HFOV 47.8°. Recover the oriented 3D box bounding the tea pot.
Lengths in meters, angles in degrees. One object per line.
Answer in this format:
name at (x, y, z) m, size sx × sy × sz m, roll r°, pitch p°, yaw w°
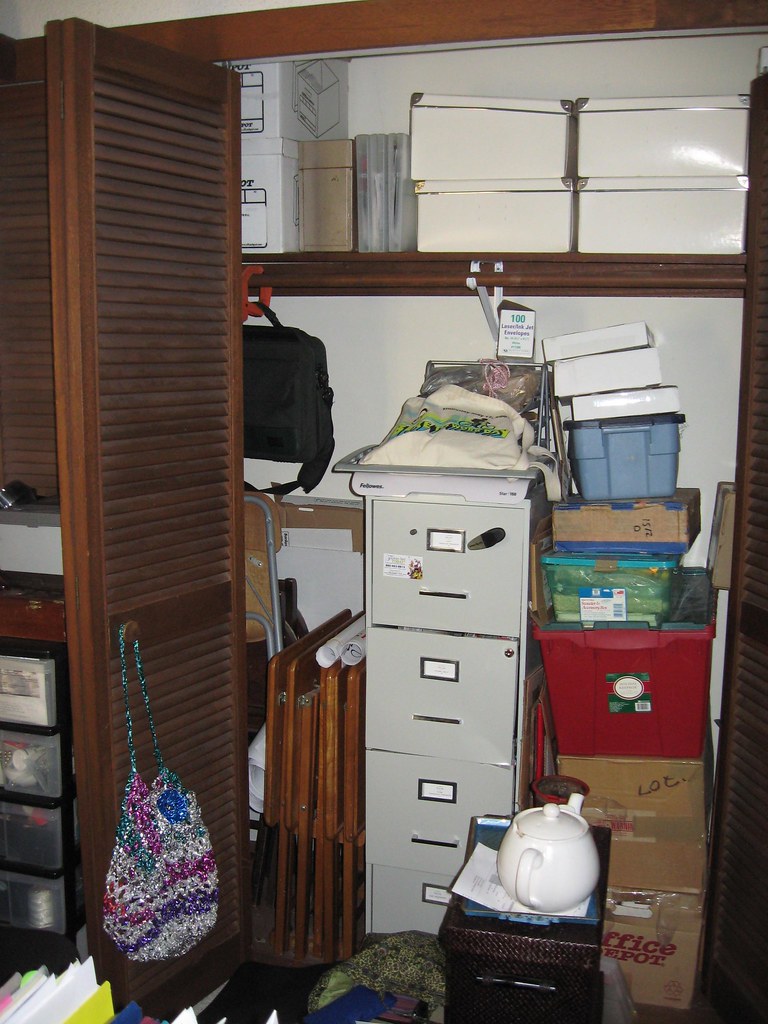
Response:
tea pot at (0.277, 0.552, 1.453) m, size 0.119 × 0.117 × 0.186 m, roll 3°, pitch 13°, yaw 24°
